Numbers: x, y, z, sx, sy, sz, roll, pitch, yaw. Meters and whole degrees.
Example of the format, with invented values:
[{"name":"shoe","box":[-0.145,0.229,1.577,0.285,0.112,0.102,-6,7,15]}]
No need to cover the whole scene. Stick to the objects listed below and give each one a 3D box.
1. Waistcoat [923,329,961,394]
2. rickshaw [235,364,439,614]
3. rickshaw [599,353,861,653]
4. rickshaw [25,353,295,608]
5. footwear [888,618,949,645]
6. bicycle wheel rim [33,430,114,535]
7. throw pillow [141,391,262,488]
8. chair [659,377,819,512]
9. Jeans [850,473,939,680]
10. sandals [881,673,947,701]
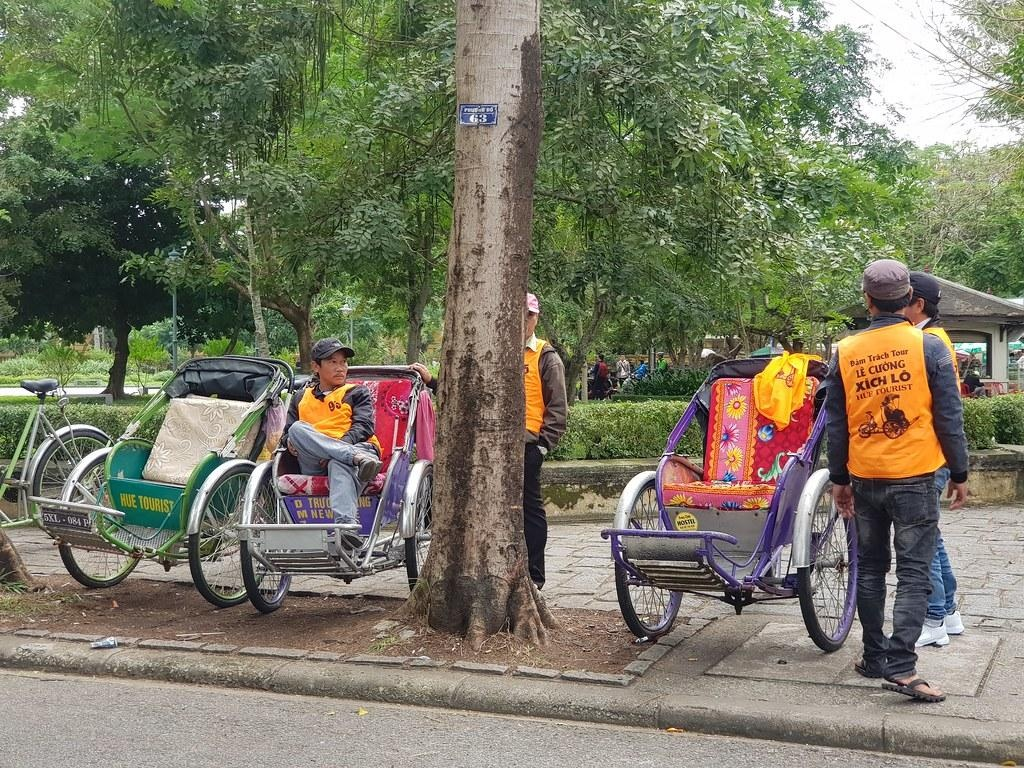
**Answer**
[{"name":"Waistcoat","box":[2.852,-0.211,7.810,0.244,0.341,0.173,-5,-9,4]},{"name":"rickshaw","box":[-1.337,0.885,9.476,1.189,1.869,1.846,4,9,34]},{"name":"rickshaw","box":[1.689,0.872,8.551,1.681,2.140,2.492,-1,-2,19]},{"name":"rickshaw","box":[-2.925,0.802,9.704,1.836,1.972,2.217,2,7,4]},{"name":"footwear","box":[2.914,1.756,8.258,0.479,0.238,0.179,3,-5,-30]},{"name":"bicycle wheel rim","box":[-3.860,0.887,10.141,0.280,0.980,0.971,2,2,25]},{"name":"throw pillow","box":[-2.702,0.609,10.137,0.759,0.782,0.292,8,-22,21]},{"name":"chair","box":[1.774,0.500,8.811,0.968,1.147,1.299,-1,1,37]},{"name":"Jeans","box":[2.556,1.237,7.784,0.464,1.428,0.578,7,-8,-40]},{"name":"sandals","box":[2.571,1.945,7.406,0.306,0.103,0.161,9,10,28]}]
